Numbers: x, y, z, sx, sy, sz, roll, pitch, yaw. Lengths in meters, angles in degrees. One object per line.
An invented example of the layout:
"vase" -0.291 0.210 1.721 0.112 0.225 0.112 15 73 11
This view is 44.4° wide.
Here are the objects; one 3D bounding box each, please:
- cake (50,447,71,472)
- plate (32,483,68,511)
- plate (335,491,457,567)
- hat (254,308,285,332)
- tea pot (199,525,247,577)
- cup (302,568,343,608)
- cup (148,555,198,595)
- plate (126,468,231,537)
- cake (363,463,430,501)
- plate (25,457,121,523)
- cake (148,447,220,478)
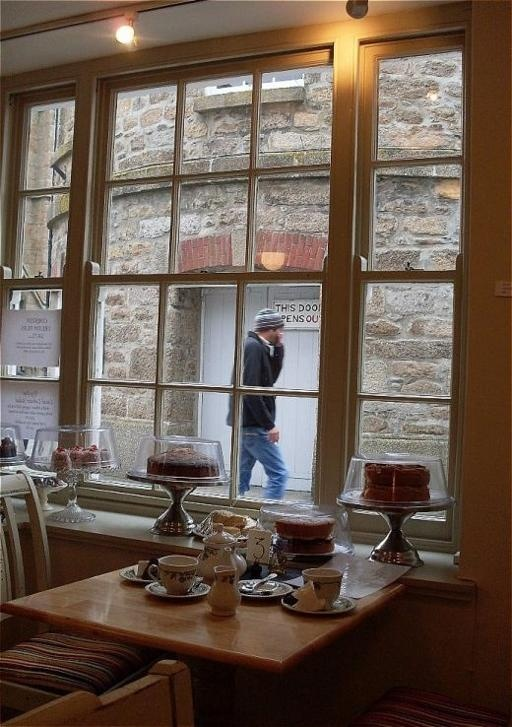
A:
"cake" -0.702 0.346 2.269 0.082 0.082 0.036 0 -3 30
"plate" -0.830 0.528 2.518 0.126 0.077 0.119 1 -10 0
"plate" 0.407 0.460 1.760 0.254 0.134 0.243 1 -3 -18
"hat" 0.050 -0.163 2.270 0.105 0.076 0.073 -4 1 3
"tea pot" -0.089 0.456 1.531 0.110 0.117 0.138 1 -10 -4
"cup" 0.138 0.473 1.356 0.076 0.057 0.078 2 1 0
"cup" -0.182 0.482 1.450 0.080 0.059 0.093 1 -5 -2
"plate" -0.287 0.468 2.129 0.272 0.165 0.256 7 -10 -10
"cake" 0.415 0.322 1.794 0.131 0.063 0.133 -2 -4 44
"plate" -0.671 0.423 2.363 0.309 0.211 0.284 2 -3 12
"cake" -0.241 0.325 2.085 0.240 0.096 0.091 1 -2 -3
